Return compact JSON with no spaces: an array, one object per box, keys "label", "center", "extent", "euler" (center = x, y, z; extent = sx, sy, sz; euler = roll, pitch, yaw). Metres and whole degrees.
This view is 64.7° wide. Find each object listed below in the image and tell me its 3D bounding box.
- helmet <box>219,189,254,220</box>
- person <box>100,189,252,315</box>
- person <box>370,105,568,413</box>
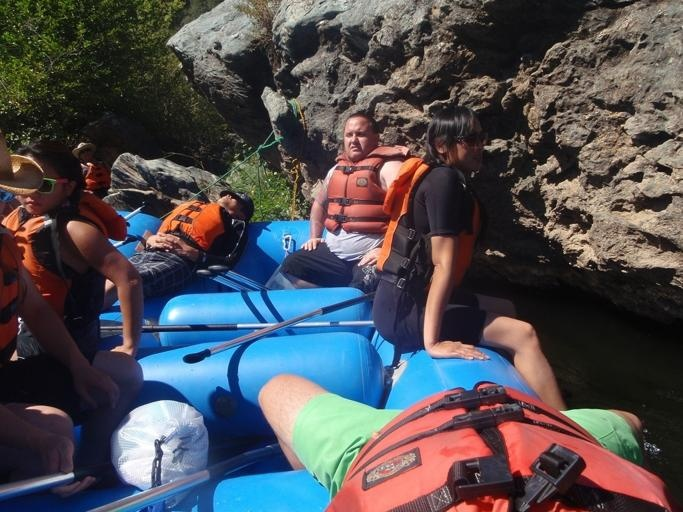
[{"label":"helmet","center":[-0.987,-0.521,5.280],"extent":[0.176,0.342,0.250],"euler":[-48,15,-10]},{"label":"person","center":[-1.322,-0.149,4.650],"extent":[0.500,0.582,1.577],"euler":[37,52,25]},{"label":"person","center":[0.823,0.120,3.307],"extent":[1.273,1.983,0.795],"euler":[-1,10,0]}]
